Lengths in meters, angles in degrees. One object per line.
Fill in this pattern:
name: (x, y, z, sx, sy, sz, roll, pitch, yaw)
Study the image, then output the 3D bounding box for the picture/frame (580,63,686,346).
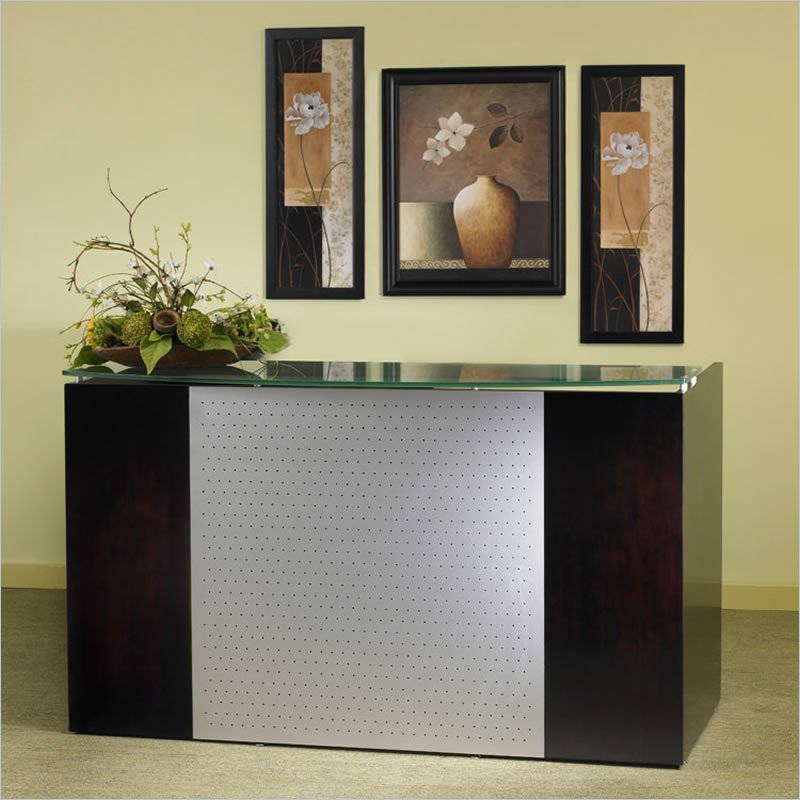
picture/frame: (0.920, -0.763, 3.695, 0.395, 1.142, 0.037, 1, -3, 12)

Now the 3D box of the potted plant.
potted plant: (-0.726, -0.312, 2.798, 0.602, 0.333, 0.437, 12, 20, 41)

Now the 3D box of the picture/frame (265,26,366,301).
picture/frame: (-0.361, -0.946, 3.777, 0.384, 1.209, 0.041, 1, -13, -8)

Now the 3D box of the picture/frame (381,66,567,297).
picture/frame: (0.315, -0.882, 3.757, 0.740, 1.078, 0.050, 0, -22, 3)
